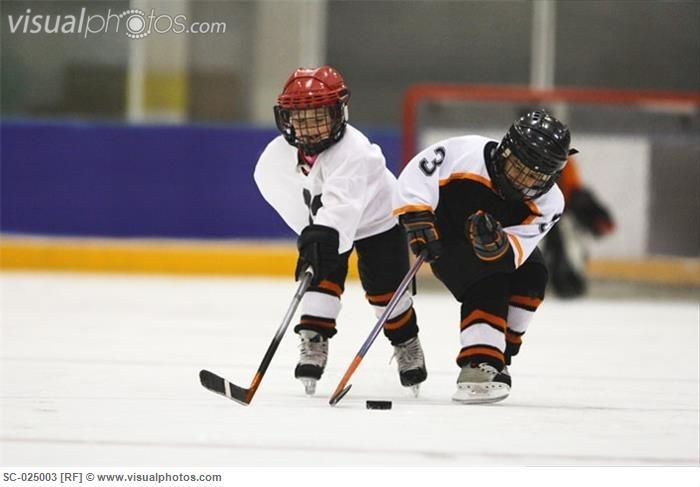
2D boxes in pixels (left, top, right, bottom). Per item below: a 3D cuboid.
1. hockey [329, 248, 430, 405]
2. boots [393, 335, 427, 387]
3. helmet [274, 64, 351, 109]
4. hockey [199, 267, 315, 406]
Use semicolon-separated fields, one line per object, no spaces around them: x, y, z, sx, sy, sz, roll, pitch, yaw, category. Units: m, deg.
0.153;0.459;5.250;0.928;0.153;0.045;-49;41;-16;hockey
0.304;0.601;4.982;0.102;0.132;0.304;-23;34;17;boots
-0.170;-0.776;4.912;0.374;0.213;0.215;-1;8;-13;helmet
-0.456;0.425;4.744;0.544;0.614;0.322;-6;11;-43;hockey
